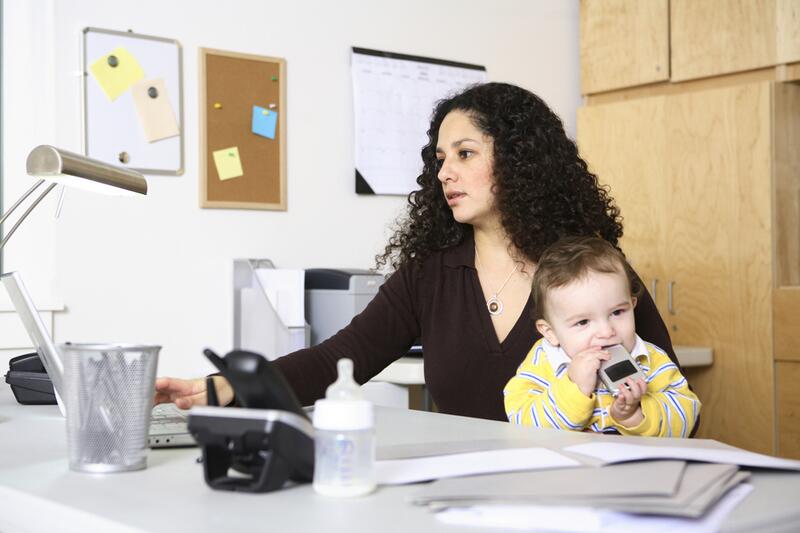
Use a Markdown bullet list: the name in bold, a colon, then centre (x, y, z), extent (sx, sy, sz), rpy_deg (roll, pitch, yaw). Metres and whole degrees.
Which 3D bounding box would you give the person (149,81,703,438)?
- **person**: centre (-0.083, -0.042, 2.338), extent (0.953, 1.448, 1.131), rpy_deg (5, -14, -33)

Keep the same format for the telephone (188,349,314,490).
- **telephone**: centre (-0.202, 0.217, 1.014), extent (0.166, 0.199, 0.199), rpy_deg (0, -7, 2)

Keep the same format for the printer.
- **printer**: centre (-0.194, 0.149, 2.455), extent (0.186, 0.297, 0.327), rpy_deg (-9, 2, -40)

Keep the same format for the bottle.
- **bottle**: centre (-0.069, 0.213, 0.950), extent (0.102, 0.179, 0.081), rpy_deg (-4, 9, -24)

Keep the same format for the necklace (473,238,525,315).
- **necklace**: centre (0.267, 0.020, 1.802), extent (0.128, 0.202, 0.053), rpy_deg (-3, -20, -1)
